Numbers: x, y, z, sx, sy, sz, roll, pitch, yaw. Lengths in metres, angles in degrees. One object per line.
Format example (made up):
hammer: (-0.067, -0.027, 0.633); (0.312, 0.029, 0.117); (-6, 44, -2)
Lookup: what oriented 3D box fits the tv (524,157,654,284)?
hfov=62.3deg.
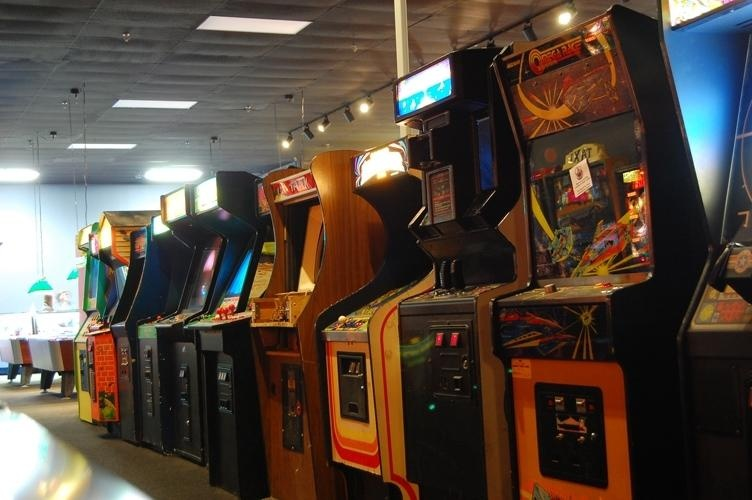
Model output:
tv: (1.077, -0.147, 3.057); (0.222, 0.546, 0.620); (3, -6, -40)
